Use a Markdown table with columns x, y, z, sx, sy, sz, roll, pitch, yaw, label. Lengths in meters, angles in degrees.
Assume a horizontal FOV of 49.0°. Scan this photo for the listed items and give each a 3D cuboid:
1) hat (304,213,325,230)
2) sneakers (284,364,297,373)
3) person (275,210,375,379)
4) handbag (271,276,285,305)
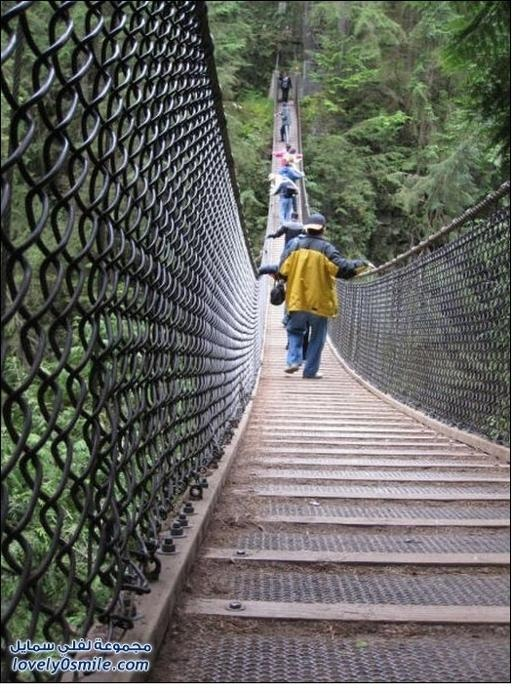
| x | y | z | sx | sy | sz | roll | pitch | yaw | label |
| --- | --- | --- | --- | --- | --- | --- | --- | --- | --- |
| 0.640 | -1.319 | 5.885 | 0.167 | 0.135 | 0.252 | 4 | 4 | 19 | hat |
| 0.409 | 0.262 | 6.443 | 0.058 | 0.075 | 0.156 | 25 | -28 | -20 | sneakers |
| 0.725 | -0.526 | 6.065 | 0.904 | 1.777 | 0.760 | 6 | 7 | 15 | person |
| 0.233 | -0.654 | 6.723 | 0.212 | 0.416 | 0.350 | 3 | 9 | -1 | handbag |
